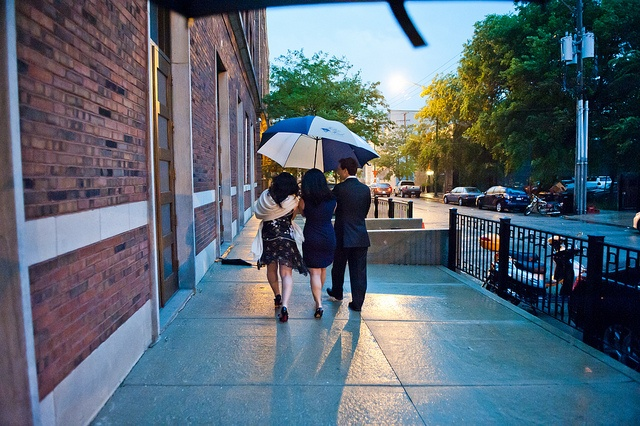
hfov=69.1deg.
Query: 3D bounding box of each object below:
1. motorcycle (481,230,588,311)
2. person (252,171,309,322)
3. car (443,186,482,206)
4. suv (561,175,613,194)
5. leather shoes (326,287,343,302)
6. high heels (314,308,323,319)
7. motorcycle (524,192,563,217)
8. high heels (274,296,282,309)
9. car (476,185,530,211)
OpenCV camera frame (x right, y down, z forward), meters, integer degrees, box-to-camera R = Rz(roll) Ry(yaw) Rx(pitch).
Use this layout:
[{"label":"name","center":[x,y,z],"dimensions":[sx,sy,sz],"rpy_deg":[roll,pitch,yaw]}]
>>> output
[{"label":"motorcycle","center":[3.780,0.890,7.306],"dimensions":[1.781,1.226,0.963],"rpy_deg":[5,6,-27]},{"label":"person","center":[-0.545,0.453,6.425],"dimensions":[0.762,2.015,0.612],"rpy_deg":[0,9,-3]},{"label":"car","center":[10.403,-1.178,33.391],"dimensions":[1.091,0.890,2.523],"rpy_deg":[0,8,-8]},{"label":"suv","center":[16.230,-1.686,27.969],"dimensions":[2.988,1.199,1.436],"rpy_deg":[3,8,15]},{"label":"leather shoes","center":[0.242,1.292,7.343],"dimensions":[0.105,0.208,0.294],"rpy_deg":[-6,26,-20]},{"label":"high heels","center":[-0.015,1.397,6.496],"dimensions":[0.116,0.134,0.150],"rpy_deg":[1,9,-1]},{"label":"motorcycle","center":[11.377,-0.396,23.574],"dimensions":[1.441,0.849,0.965],"rpy_deg":[5,7,-4]},{"label":"high heels","center":[-0.611,1.314,6.839],"dimensions":[0.079,0.103,0.232],"rpy_deg":[1,-1,-1]},{"label":"car","center":[10.918,-0.768,27.647],"dimensions":[1.319,1.607,3.518],"rpy_deg":[-1,10,-8]}]
